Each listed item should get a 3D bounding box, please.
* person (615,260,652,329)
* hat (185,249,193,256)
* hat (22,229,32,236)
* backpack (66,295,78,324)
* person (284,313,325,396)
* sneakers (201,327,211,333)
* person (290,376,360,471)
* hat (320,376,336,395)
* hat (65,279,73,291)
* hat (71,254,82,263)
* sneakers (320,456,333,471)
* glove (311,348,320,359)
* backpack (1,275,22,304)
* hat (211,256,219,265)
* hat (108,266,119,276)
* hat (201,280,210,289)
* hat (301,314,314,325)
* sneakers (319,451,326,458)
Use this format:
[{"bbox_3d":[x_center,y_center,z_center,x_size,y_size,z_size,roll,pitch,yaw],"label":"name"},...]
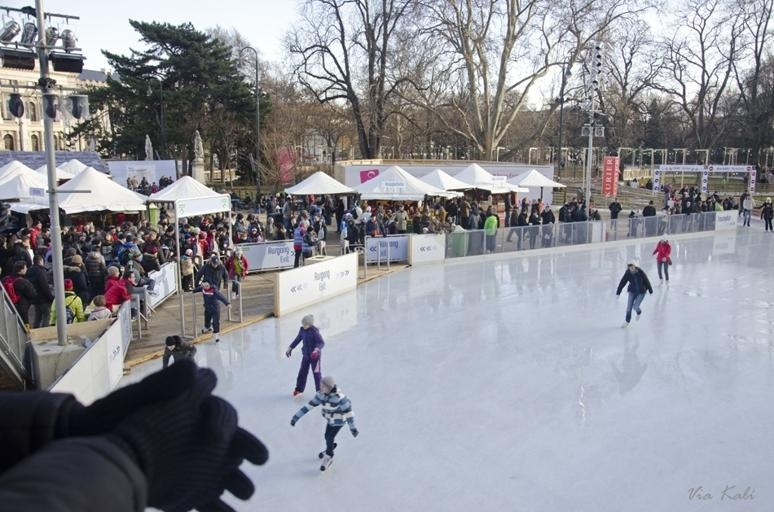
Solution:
[{"bbox_3d":[7.914,1.302,22.395,1.100,2.374,1.179,-16,19,-30],"label":"person"},{"bbox_3d":[-6.723,-0.144,23.880,0.174,0.223,0.225,34,2,11],"label":"hat"},{"bbox_3d":[-11.653,-0.791,22.669,0.172,0.211,0.214,1,-8,-2],"label":"hat"},{"bbox_3d":[-8.108,1.402,17.943,0.401,0.639,0.558,1,6,-17],"label":"backpack"},{"bbox_3d":[-1.919,2.386,16.714,0.805,2.003,0.716,1,11,5],"label":"person"},{"bbox_3d":[-5.178,2.098,20.158,0.261,0.156,0.261,-2,12,-20],"label":"sneakers"},{"bbox_3d":[-1.345,3.680,15.086,1.204,2.079,1.128,-9,23,-38],"label":"person"},{"bbox_3d":[-1.203,2.542,14.078,0.307,0.345,0.257,-15,18,-18],"label":"hat"},{"bbox_3d":[-8.415,0.752,18.528,0.201,0.268,0.282,15,4,-5],"label":"hat"},{"bbox_3d":[-8.416,0.066,19.026,0.194,0.154,0.280,15,7,-14],"label":"hat"},{"bbox_3d":[-1.232,4.258,14.468,0.120,0.161,0.399,15,32,9],"label":"sneakers"},{"bbox_3d":[-1.659,2.317,16.646,0.159,0.320,0.245,9,12,34],"label":"glove"},{"bbox_3d":[-9.417,0.820,17.555,0.261,0.835,0.573,-3,17,1],"label":"backpack"},{"bbox_3d":[-4.874,0.081,19.903,0.269,0.283,0.228,-4,12,-31],"label":"hat"},{"bbox_3d":[-7.332,0.350,18.773,0.178,0.246,0.244,26,33,21],"label":"hat"},{"bbox_3d":[-5.066,0.776,19.599,0.176,0.173,0.389,-7,15,-39],"label":"hat"},{"bbox_3d":[-1.831,1.484,16.435,0.199,0.312,0.407,2,11,2],"label":"hat"},{"bbox_3d":[-1.334,4.150,14.610,0.146,0.041,0.112,-7,16,0],"label":"sneakers"}]
